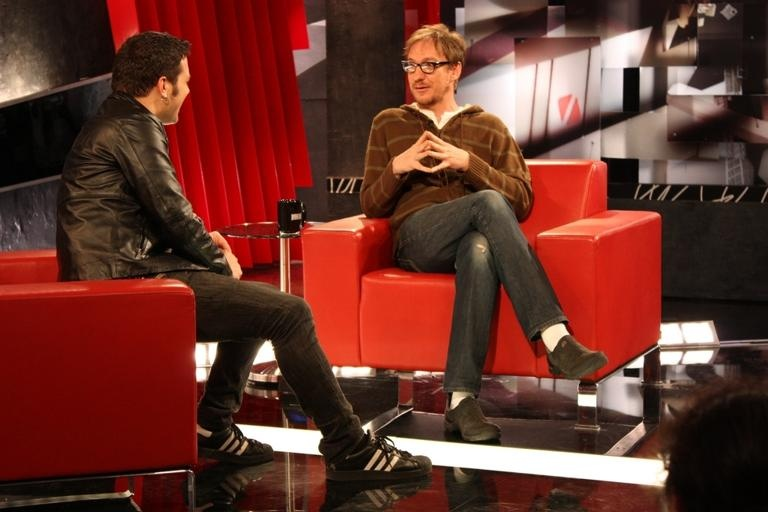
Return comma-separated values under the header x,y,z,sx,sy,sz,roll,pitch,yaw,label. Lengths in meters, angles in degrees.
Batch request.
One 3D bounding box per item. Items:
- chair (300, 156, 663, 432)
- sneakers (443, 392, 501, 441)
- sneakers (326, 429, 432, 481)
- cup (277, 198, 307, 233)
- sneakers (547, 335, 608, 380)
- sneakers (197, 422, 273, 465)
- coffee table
x,y,z,sx,sy,sz,roll,pitch,yaw,label
0.461,0.055,2.995,1.319,0.793,0.933,1,8,30,chair
0.298,0.591,2.488,0.109,0.119,0.252,-3,2,-34,sneakers
-0.004,0.644,2.227,0.369,0.146,0.134,-1,0,-5,sneakers
-0.397,-0.170,2.929,0.106,0.157,0.166,0,2,26,cup
0.644,0.342,2.361,0.116,0.104,0.220,-33,14,-24,sneakers
-0.498,0.647,2.329,0.309,0.131,0.100,5,4,-11,sneakers
-0.503,0.203,3.329,0.732,0.773,0.740,0,3,3,coffee table
